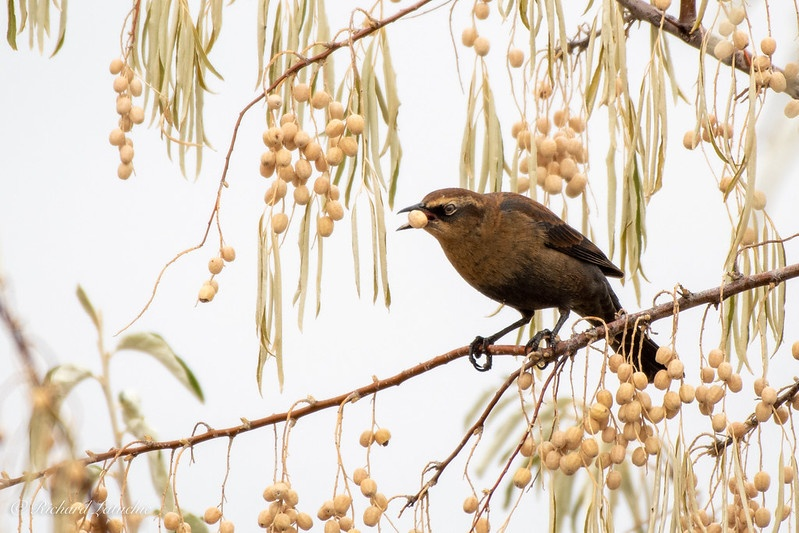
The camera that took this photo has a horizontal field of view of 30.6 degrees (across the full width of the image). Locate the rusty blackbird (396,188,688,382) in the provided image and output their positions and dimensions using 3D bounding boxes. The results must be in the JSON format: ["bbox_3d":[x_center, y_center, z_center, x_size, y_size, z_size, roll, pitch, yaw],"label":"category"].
[{"bbox_3d":[0.545,0.053,6.662,1.339,0.627,1.010,0,-95,-5],"label":"rusty blackbird"}]
